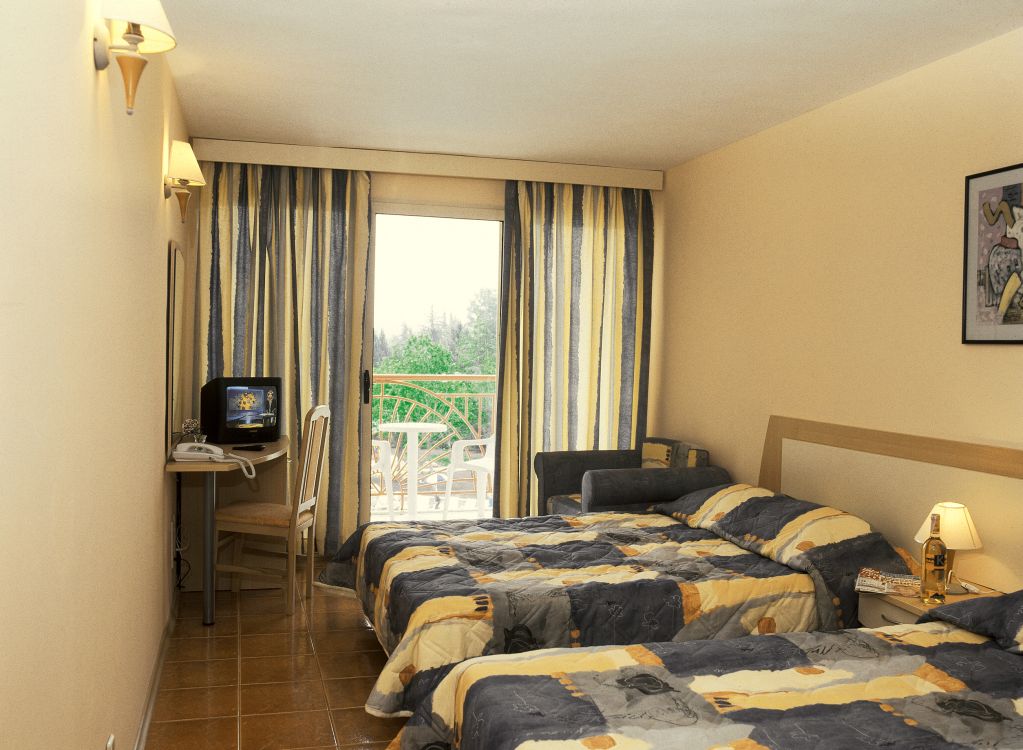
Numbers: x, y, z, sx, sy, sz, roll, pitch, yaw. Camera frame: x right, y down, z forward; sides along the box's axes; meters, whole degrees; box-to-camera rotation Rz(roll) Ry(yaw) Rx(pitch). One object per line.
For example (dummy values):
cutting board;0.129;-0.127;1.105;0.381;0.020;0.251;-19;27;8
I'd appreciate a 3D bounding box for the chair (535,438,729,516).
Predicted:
chair;0.799;0.671;5.324;0.791;0.610;0.757;1;-1;-15

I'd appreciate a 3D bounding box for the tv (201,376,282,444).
tv;-1.887;0.235;5.283;0.658;0.427;0.603;0;0;-20

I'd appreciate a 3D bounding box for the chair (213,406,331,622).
chair;-1.535;0.790;4.957;0.823;1.117;0.750;-1;-2;13

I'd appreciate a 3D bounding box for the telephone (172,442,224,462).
telephone;-1.751;0.429;4.393;0.193;0.055;0.140;-1;4;-19

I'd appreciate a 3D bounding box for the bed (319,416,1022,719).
bed;0.519;0.934;3.880;2.200;0.714;1.749;0;2;-15

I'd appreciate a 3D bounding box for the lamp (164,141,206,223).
lamp;-1.822;-1.127;4.386;0.187;0.405;0.529;-2;7;-21

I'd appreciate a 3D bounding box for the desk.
desk;-1.834;0.682;4.827;0.910;0.948;1.514;-1;2;-15
